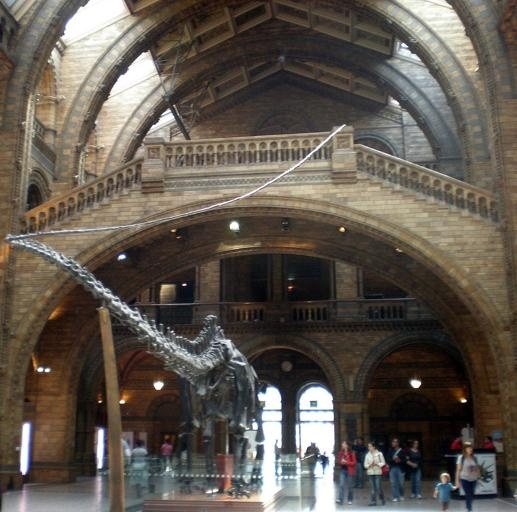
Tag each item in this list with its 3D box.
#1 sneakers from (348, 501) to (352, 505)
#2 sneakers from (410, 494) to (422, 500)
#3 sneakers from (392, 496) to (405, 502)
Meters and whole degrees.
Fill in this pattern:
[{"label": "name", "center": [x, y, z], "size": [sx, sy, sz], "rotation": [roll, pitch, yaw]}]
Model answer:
[{"label": "sneakers", "center": [1.968, 5.286, 20.731], "size": [0.057, 0.050, 0.135], "rotation": [-3, -21, 7]}, {"label": "sneakers", "center": [3.506, 5.357, 21.592], "size": [0.117, 0.105, 0.312], "rotation": [11, -18, -34]}, {"label": "sneakers", "center": [3.035, 5.264, 20.968], "size": [0.106, 0.097, 0.275], "rotation": [-10, -23, 27]}]
